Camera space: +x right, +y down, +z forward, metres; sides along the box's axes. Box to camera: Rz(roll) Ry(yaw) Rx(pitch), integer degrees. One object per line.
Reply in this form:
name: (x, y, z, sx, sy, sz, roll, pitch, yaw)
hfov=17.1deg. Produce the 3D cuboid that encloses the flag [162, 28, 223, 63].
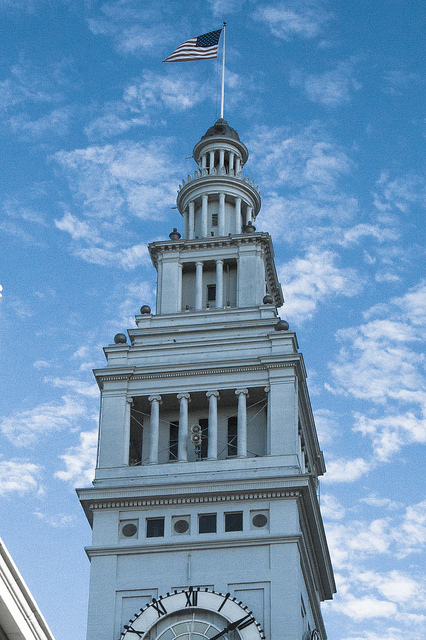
flag: (-0.858, -16.282, 85.879, 2.563, 3.220, 1.010, -6, -36, 12)
